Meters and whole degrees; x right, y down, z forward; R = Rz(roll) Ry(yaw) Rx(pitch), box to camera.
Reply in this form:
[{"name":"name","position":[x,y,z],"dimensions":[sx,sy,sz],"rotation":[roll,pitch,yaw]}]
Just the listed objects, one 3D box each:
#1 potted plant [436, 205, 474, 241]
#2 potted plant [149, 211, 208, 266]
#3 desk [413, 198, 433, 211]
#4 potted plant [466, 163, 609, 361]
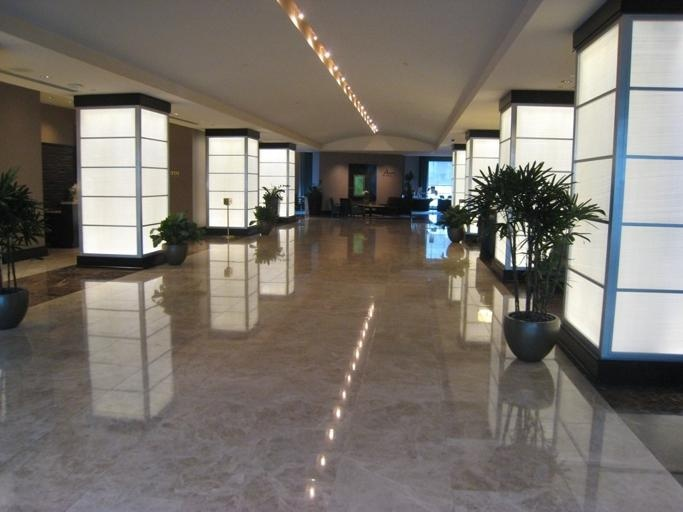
[{"name":"potted plant","position":[3.875,-1.066,16.395],"dimensions":[1.019,1.151,1.059],"rotation":[-2,2,-10]},{"name":"potted plant","position":[-3.947,-0.415,11.361],"dimensions":[1.116,1.288,1.162],"rotation":[2,3,31]},{"name":"desk","position":[4.772,-3.139,29.073],"dimensions":[0.559,0.711,1.743],"rotation":[8,11,43]},{"name":"potted plant","position":[2.243,0.038,5.699],"dimensions":[1.584,2.241,1.491],"rotation":[5,-12,-2]}]
